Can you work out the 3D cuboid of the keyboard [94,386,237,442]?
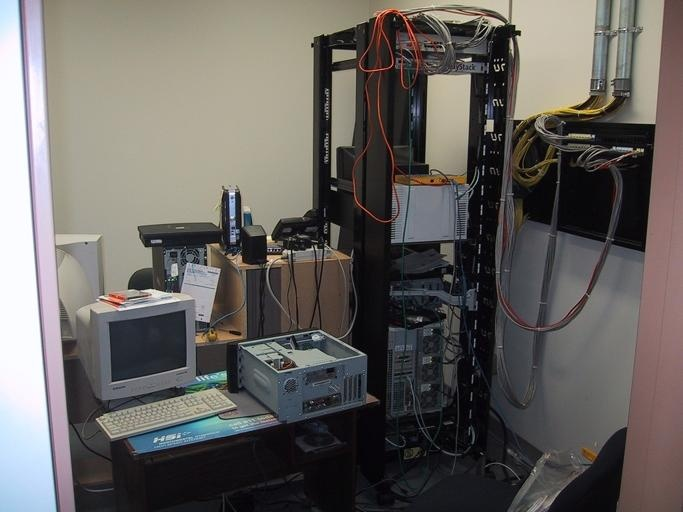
[{"bbox_3d":[-0.711,0.644,2.440,0.533,0.058,0.206,-12,20,-27],"label":"keyboard"}]

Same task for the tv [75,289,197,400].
[{"bbox_3d":[-0.939,0.313,2.686,0.437,0.439,0.447,-4,6,-35],"label":"tv"}]
